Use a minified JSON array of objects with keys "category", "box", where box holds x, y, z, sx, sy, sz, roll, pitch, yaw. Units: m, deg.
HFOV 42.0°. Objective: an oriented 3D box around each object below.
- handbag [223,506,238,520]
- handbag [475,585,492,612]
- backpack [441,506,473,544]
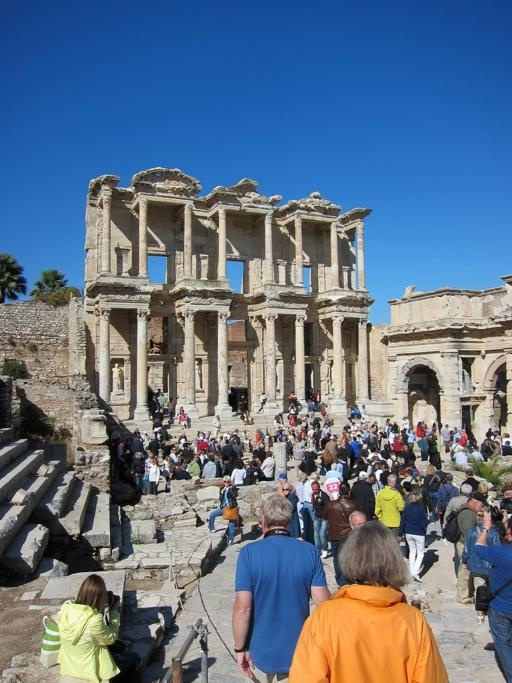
[{"category":"handbag","box":[-0.450,3.009,11.657,0.268,0.241,0.107,7,-19,-33]},{"category":"handbag","box":[2.063,2.356,6.036,0.136,0.281,0.369,-3,-5,15]},{"category":"backpack","box":[2.542,2.314,8.475,0.231,0.508,0.678,-1,-5,2]}]
